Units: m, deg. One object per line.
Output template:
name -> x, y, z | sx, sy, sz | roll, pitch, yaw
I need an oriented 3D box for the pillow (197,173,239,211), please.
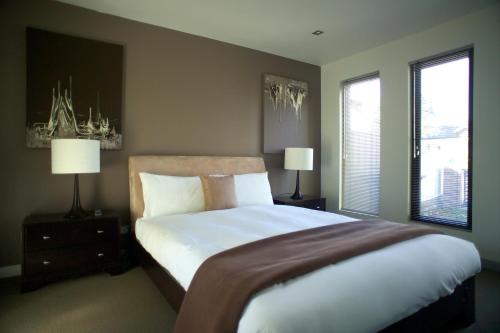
pillow -> -0.423, 0.365, 4.743 | 0.533, 0.503, 0.195 | -2, -9, -32

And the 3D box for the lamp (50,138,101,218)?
lamp -> -2.206, 0.143, 4.347 | 0.548, 0.980, 0.452 | -3, 5, -30

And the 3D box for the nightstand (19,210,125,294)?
nightstand -> -2.336, 1.088, 4.414 | 1.086, 0.798, 0.617 | 0, -1, -38
